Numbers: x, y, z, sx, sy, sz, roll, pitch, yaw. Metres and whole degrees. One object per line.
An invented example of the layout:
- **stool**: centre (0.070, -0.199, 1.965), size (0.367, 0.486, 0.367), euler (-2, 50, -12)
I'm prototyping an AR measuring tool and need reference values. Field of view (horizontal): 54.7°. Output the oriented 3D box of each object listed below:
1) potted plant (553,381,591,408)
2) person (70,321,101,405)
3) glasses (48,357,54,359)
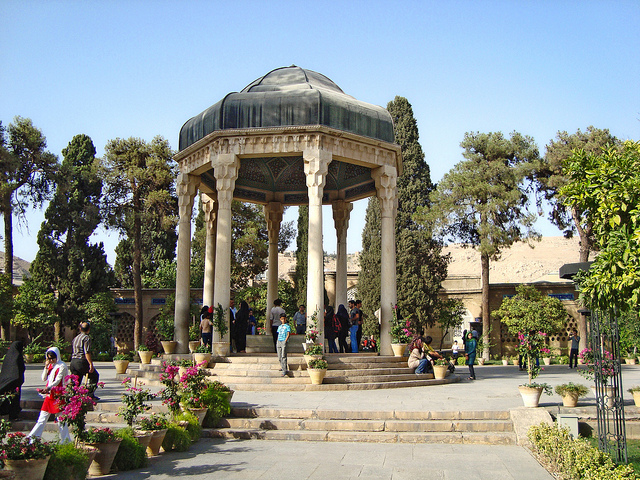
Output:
- **potted plant**: centre (5.622, 3.443, 13.896), size (0.681, 0.525, 0.660), euler (5, -12, -17)
- **person**: centre (-5.651, 2.955, 14.926), size (0.619, 2.020, 0.599), euler (3, 8, -13)
- **glasses**: centre (-5.175, 2.265, 11.962), size (0.056, 0.068, 0.077), euler (1, -2, -2)
